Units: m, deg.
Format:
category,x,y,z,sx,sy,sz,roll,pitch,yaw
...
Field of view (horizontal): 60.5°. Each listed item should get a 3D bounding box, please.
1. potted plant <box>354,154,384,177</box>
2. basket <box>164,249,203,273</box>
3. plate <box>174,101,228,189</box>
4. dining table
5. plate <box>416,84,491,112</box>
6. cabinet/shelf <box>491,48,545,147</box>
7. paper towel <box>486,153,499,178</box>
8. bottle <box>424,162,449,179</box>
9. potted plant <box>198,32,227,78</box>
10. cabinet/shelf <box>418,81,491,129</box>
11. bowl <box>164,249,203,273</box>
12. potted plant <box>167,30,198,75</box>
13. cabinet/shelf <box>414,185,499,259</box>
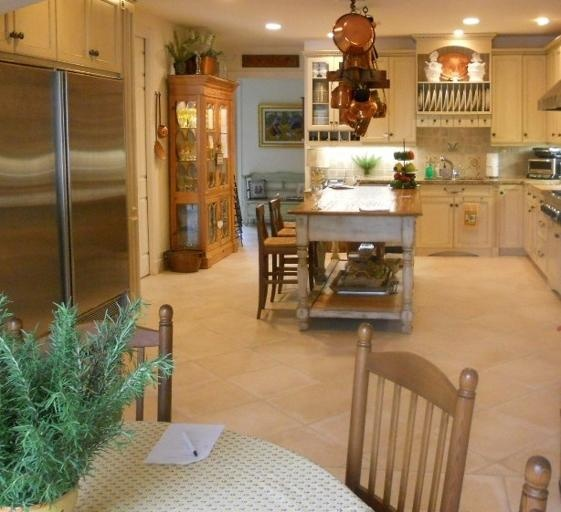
category,x,y,z,sx,sy,sz,roll,pitch,yaw
potted plant,1.424,-1.477,7.920,0.400,0.309,0.387,0,7,13
basket,-1.372,0.074,6.696,0.440,0.178,0.326,1,3,-9
plate,-1.087,-1.606,7.115,0.433,1.261,1.005,6,13,28
dining table,0.781,-0.027,4.904,1.182,1.220,1.519,2,12,12
plate,2.671,-2.450,7.468,1.094,0.468,0.149,1,12,5
cabinet/shelf,3.641,-2.412,7.385,0.831,1.379,0.202,1,12,8
paper towel,3.441,-1.491,7.816,0.213,0.377,0.059,-1,12,0
bottle,2.596,-1.412,7.850,0.463,0.294,0.231,0,10,6
potted plant,-1.068,-2.869,6.860,0.318,0.522,0.300,25,26,29
cabinet/shelf,2.722,-2.367,7.463,0.789,0.421,0.245,-1,5,4
bowl,-1.361,0.070,6.679,0.433,0.181,0.327,-1,6,3
potted plant,-1.387,-2.864,6.781,0.529,0.486,0.473,-2,17,-27
cabinet/shelf,2.600,-0.551,7.719,1.436,1.158,0.660,-1,2,-14
